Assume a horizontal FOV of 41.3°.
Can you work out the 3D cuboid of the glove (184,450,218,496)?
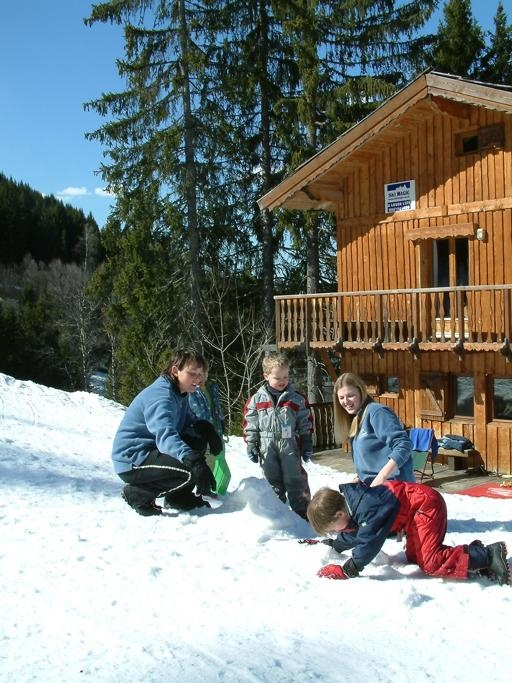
[{"bbox_3d":[-0.307,1.059,5.439,0.120,0.384,0.267,-20,5,-32],"label":"glove"}]

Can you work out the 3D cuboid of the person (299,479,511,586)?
[{"bbox_3d":[0.932,1.209,4.391,0.959,0.524,0.631,-1,-14,7],"label":"person"}]

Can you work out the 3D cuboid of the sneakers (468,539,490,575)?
[{"bbox_3d":[1.352,1.387,4.272,0.114,0.175,0.085,-2,4,11],"label":"sneakers"}]

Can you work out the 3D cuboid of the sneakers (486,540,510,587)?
[{"bbox_3d":[1.448,1.364,4.197,0.112,0.274,0.089,-3,1,6],"label":"sneakers"}]

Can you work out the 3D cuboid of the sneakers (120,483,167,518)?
[{"bbox_3d":[-0.805,1.317,5.642,0.274,0.119,0.216,42,7,3],"label":"sneakers"}]

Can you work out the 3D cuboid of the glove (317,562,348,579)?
[{"bbox_3d":[0.518,1.498,4.406,0.182,0.069,0.103,-2,4,16],"label":"glove"}]

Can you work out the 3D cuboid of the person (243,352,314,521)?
[{"bbox_3d":[0.296,0.969,6.720,0.557,1.776,0.408,0,25,8],"label":"person"}]

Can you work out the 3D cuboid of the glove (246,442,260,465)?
[{"bbox_3d":[0.044,1.097,6.635,0.073,0.173,0.122,-9,-11,-17],"label":"glove"}]
